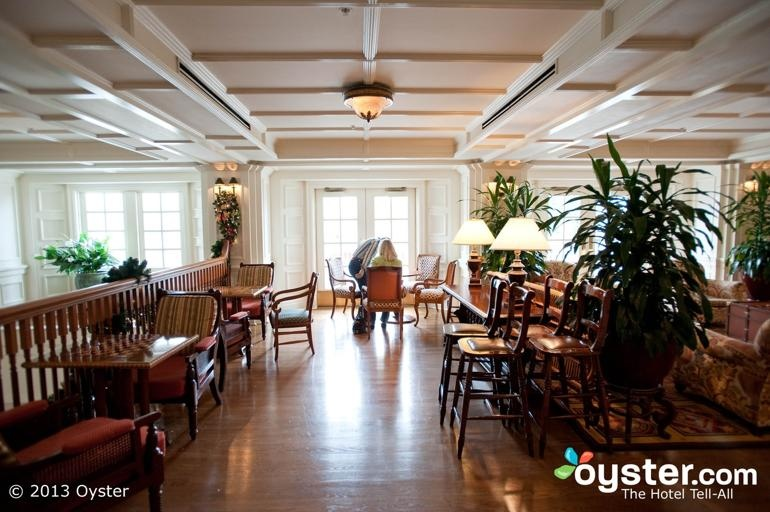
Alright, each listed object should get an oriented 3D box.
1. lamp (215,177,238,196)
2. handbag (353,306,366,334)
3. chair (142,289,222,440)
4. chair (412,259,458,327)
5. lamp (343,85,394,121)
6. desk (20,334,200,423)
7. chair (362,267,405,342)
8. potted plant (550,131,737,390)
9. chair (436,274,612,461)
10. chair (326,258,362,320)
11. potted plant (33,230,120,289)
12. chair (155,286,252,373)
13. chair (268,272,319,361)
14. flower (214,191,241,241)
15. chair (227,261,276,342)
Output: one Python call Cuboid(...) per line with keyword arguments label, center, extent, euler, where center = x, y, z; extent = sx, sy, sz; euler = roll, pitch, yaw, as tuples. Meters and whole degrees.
Cuboid(label="lamp", center=(-2.597, -1.134, 8.010), extent=(0.438, 0.368, 0.293), euler=(0, -1, -13))
Cuboid(label="handbag", center=(-0.386, 0.991, 7.363), extent=(0.289, 0.466, 0.460), euler=(0, 1, -7))
Cuboid(label="chair", center=(-2.167, 1.021, 4.908), extent=(0.917, 1.200, 1.068), euler=(4, 8, 10))
Cuboid(label="chair", center=(0.800, 0.584, 7.965), extent=(0.816, 0.910, 0.714), euler=(1, 2, 26))
Cuboid(label="lamp", center=(-0.184, -1.721, 5.522), extent=(0.577, 0.297, 0.542), euler=(0, 1, -3))
Cuboid(label="desk", center=(-2.260, 0.877, 4.215), extent=(0.936, 0.511, 0.888), euler=(1, 1, 3))
Cuboid(label="chair", center=(0.030, 0.744, 7.003), extent=(0.698, 1.023, 0.717), euler=(7, -28, -13))
Cuboid(label="potted plant", center=(2.438, 0.084, 4.694), extent=(1.737, 2.262, 1.400), euler=(2, 6, -28))
Cuboid(label="chair", center=(1.547, 1.048, 5.195), extent=(1.789, 1.931, 1.370), euler=(2, -2, 1))
Cuboid(label="chair", center=(-0.666, 0.557, 8.444), extent=(0.712, 0.977, 0.637), euler=(4, 4, 23))
Cuboid(label="potted plant", center=(-5.198, 0.053, 7.996), extent=(1.057, 0.709, 1.054), euler=(-3, 1, 10))
Cuboid(label="chair", center=(-2.226, 0.874, 5.764), extent=(1.079, 1.134, 1.025), euler=(-1, 6, -15))
Cuboid(label="chair", center=(-1.434, 0.785, 7.640), extent=(0.689, 1.136, 3.132), euler=(0, 1, -10))
Cuboid(label="flower", center=(-2.587, -0.653, 7.903), extent=(0.438, 0.823, 0.224), euler=(0, 2, -17))
Cuboid(label="chair", center=(-1.931, 0.600, 6.943), extent=(0.717, 0.882, 0.809), euler=(2, 8, 10))
